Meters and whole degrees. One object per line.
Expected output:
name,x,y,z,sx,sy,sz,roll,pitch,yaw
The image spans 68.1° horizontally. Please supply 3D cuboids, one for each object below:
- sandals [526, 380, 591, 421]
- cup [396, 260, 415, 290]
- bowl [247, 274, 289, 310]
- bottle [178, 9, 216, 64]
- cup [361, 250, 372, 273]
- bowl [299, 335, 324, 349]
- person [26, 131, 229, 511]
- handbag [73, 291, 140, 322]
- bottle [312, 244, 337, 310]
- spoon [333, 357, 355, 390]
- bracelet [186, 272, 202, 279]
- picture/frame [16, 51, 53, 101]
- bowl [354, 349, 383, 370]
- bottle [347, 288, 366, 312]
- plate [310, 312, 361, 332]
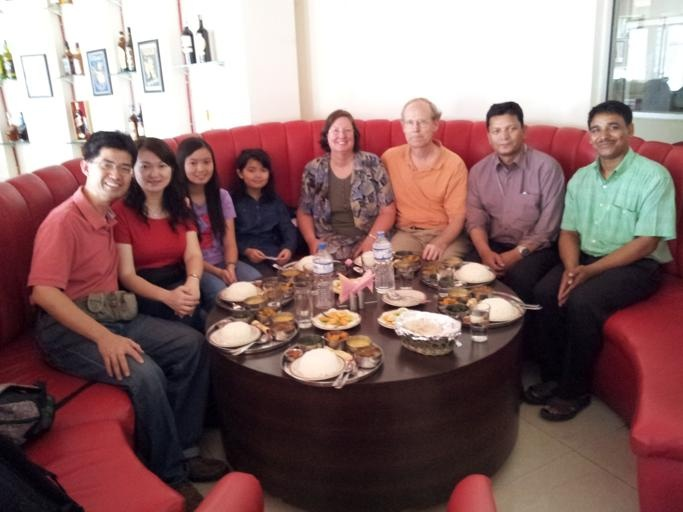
sandals,1.187,0.765,2.729,0.247,0.071,0.179,-11,24,-25
cup,0.338,0.097,2.675,0.131,0.161,0.120,-4,21,1
bowl,-0.366,0.180,2.503,0.139,0.126,0.180,1,3,22
bottle,-1.288,-1.946,4.582,0.272,0.408,0.494,-19,24,-32
cup,0.157,0.039,2.772,0.085,0.091,0.084,-1,9,0
bowl,-0.130,0.358,2.109,0.095,0.039,0.100,-5,20,2
person,-1.000,0.250,2.363,0.830,1.573,0.667,13,28,42
handbag,-1.122,0.225,2.433,0.147,0.081,0.195,12,8,41
bottle,-0.098,0.083,2.530,0.110,0.310,0.245,-7,20,-3
spoon,0.010,0.455,1.962,0.041,0.023,0.151,7,21,6
bracelet,-0.833,0.108,2.834,0.043,0.016,0.038,22,2,-2
picture/frame,-3.116,-1.806,5.110,0.321,0.419,0.038,12,10,33
bowl,0.106,0.394,2.004,0.082,0.046,0.083,-3,12,1
bottle,0.075,0.210,2.481,0.099,0.121,0.090,-1,12,0
plate,-0.022,0.293,2.318,0.192,0.049,0.186,12,26,40
